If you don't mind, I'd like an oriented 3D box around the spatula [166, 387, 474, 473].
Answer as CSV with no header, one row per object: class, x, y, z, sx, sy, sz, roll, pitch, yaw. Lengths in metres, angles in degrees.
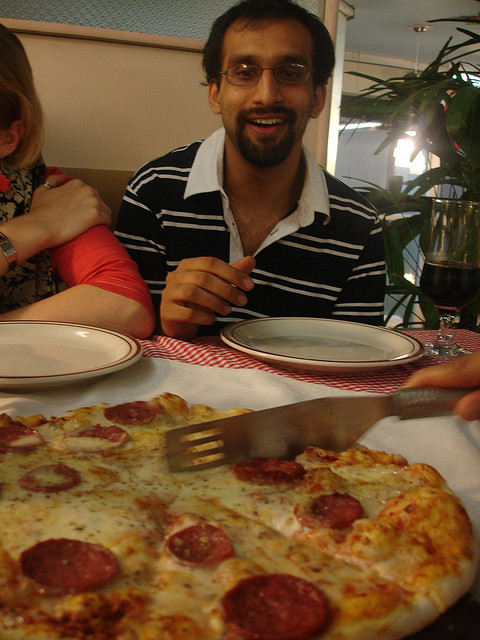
spatula,0.102,0.113,0.601,0.395,0.029,0.065,-8,38,-16
